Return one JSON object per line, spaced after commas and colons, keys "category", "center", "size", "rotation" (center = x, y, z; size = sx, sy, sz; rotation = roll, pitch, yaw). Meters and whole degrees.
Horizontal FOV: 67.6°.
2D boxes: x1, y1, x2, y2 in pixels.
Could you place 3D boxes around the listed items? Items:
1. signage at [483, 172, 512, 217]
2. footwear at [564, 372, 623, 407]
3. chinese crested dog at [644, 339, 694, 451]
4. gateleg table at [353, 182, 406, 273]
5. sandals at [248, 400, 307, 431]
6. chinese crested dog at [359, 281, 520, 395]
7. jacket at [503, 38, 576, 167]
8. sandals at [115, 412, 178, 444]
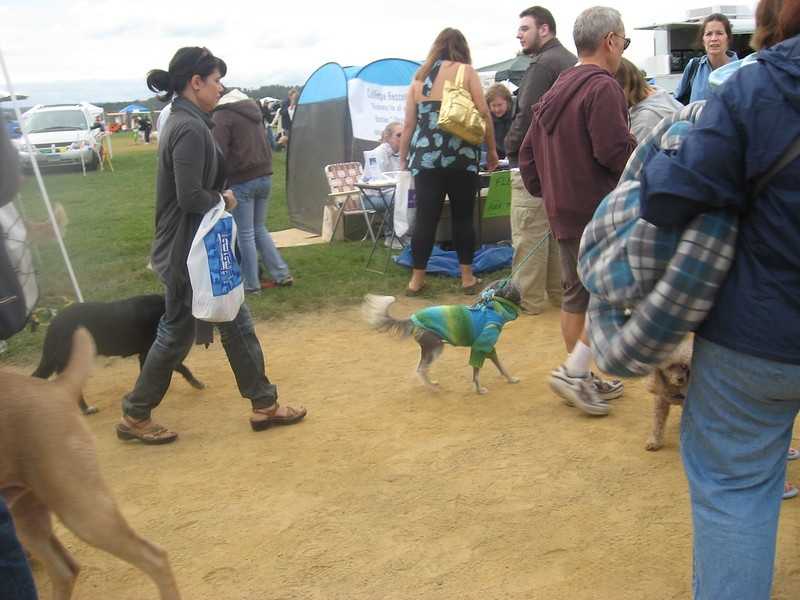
{"category": "signage", "center": [1.381, -1.408, 7.916], "size": [0.013, 0.601, 0.634], "rotation": [4, 4, -24]}
{"category": "footwear", "center": [1.422, 0.637, 4.313], "size": [0.434, 0.149, 0.163], "rotation": [0, 9, -28]}
{"category": "chinese crested dog", "center": [1.661, 0.675, 3.696], "size": [0.232, 0.656, 0.438], "rotation": [31, 9, 36]}
{"category": "gateleg table", "center": [-0.379, -1.164, 9.058], "size": [0.742, 1.288, 0.757], "rotation": [-14, 27, -38]}
{"category": "sandals", "center": [-0.895, 0.808, 4.441], "size": [0.459, 0.195, 0.163], "rotation": [-12, 20, -21]}
{"category": "chinese crested dog", "center": [0.235, 0.167, 4.943], "size": [1.236, 0.919, 1.067], "rotation": [8, 14, -10]}
{"category": "jacket", "center": [1.192, -1.919, 5.722], "size": [0.738, 1.253, 0.604], "rotation": [-12, 25, -32]}
{"category": "sandals", "center": [-1.778, 0.901, 4.261], "size": [0.419, 0.168, 0.189], "rotation": [3, 8, -7]}
